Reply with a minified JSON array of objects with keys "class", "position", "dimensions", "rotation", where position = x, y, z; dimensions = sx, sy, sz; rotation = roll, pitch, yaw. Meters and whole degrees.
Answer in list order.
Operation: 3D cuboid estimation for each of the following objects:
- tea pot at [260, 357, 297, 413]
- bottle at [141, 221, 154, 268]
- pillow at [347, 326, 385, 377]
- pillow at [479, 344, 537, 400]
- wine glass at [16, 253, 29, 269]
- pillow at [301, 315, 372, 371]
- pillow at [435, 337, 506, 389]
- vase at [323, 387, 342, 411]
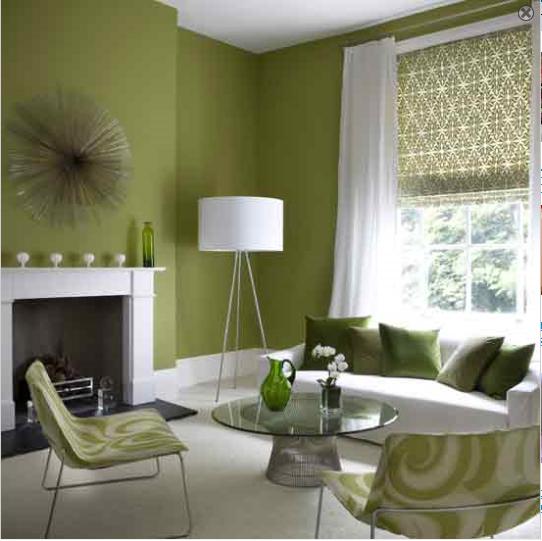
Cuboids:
[{"class":"tea pot","position":[0.029,0.586,2.799],"dimensions":[0.220,0.420,0.230],"rotation":[2,-4,0]},{"class":"bottle","position":[-1.043,-0.212,4.508],"dimensions":[0.103,0.378,0.231],"rotation":[0,2,-14]},{"class":"pillow","position":[0.699,0.597,3.891],"dimensions":[0.249,0.297,0.109],"rotation":[-2,-10,34]},{"class":"pillow","position":[1.442,0.605,3.211],"dimensions":[0.258,0.328,0.192],"rotation":[0,2,1]},{"class":"wine glass","position":[-1.756,-0.065,3.773],"dimensions":[0.095,0.161,0.105],"rotation":[0,0,-17]},{"class":"pillow","position":[0.500,0.552,3.966],"dimensions":[0.304,0.330,0.126],"rotation":[-2,-18,15]},{"class":"pillow","position":[1.262,0.584,3.357],"dimensions":[0.089,0.336,0.317],"rotation":[24,1,-14]},{"class":"vase","position":[0.314,0.668,2.830],"dimensions":[0.096,0.160,0.104],"rotation":[0,1,-16]}]
